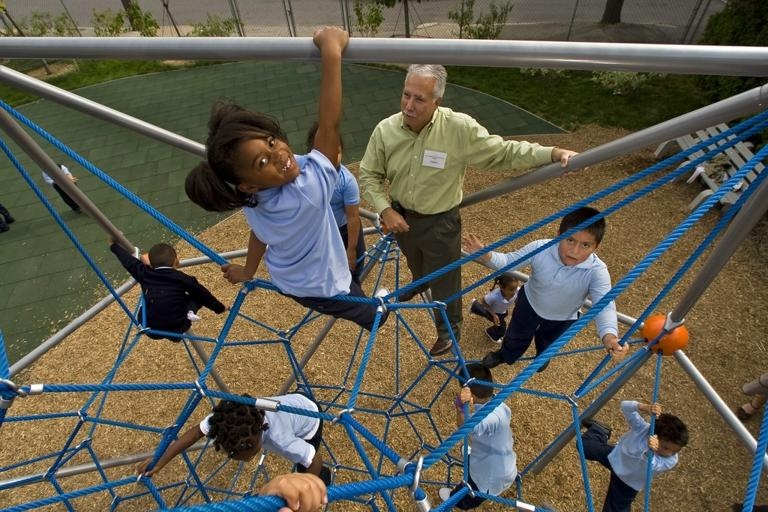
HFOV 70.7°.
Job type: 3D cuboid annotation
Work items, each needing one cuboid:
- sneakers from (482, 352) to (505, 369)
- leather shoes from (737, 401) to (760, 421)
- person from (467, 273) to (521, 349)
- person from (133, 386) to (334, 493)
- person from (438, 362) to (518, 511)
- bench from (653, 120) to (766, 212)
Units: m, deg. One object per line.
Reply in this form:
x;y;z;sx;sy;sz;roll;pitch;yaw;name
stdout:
1.219;1.171;6.094;0.279;0.200;0.159;2;72;-13;sneakers
4.229;1.796;6.294;0.075;0.317;0.129;-9;67;-53;leather shoes
1.432;0.578;6.808;0.415;1.117;0.592;-7;48;-10;person
-1.483;1.866;5.379;0.748;1.307;0.925;36;88;16;person
0.990;1.968;5.492;0.709;1.748;1.097;1;44;5;person
5.052;-1.489;8.253;1.188;0.788;1.742;-5;45;-1;bench
